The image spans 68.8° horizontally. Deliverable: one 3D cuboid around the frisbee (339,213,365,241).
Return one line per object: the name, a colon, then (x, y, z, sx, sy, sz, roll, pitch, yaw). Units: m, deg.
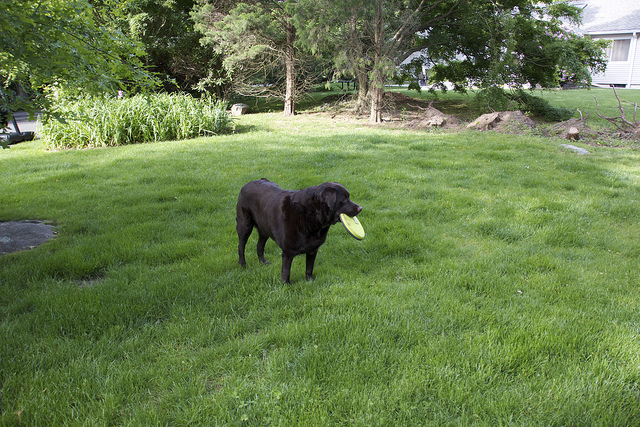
frisbee: (0.477, 0.130, 6.700, 0.314, 0.399, 0.674, 3, 18, 15)

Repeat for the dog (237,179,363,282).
dog: (-0.445, 0.210, 6.977, 2.096, 1.544, 0.758, 13, 15, 32)
